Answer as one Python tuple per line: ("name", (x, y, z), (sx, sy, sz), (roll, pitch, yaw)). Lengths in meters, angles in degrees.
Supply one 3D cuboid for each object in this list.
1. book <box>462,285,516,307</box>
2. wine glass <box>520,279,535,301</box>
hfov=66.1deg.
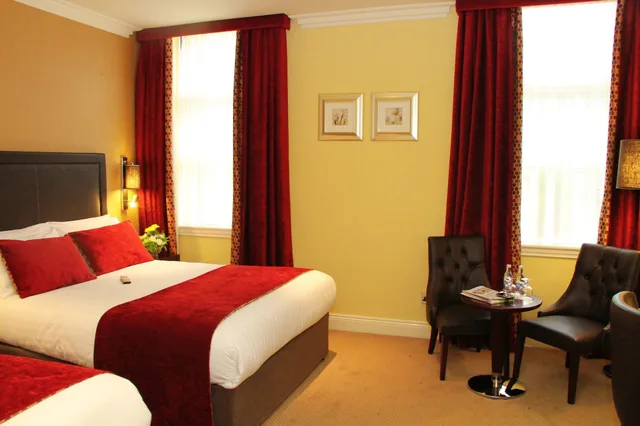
("book", (1.731, 0.864, 5.048), (0.364, 0.085, 0.442), (-6, 9, -33))
("wine glass", (2.132, 0.773, 5.057), (0.117, 0.193, 0.287), (5, 10, 35))
